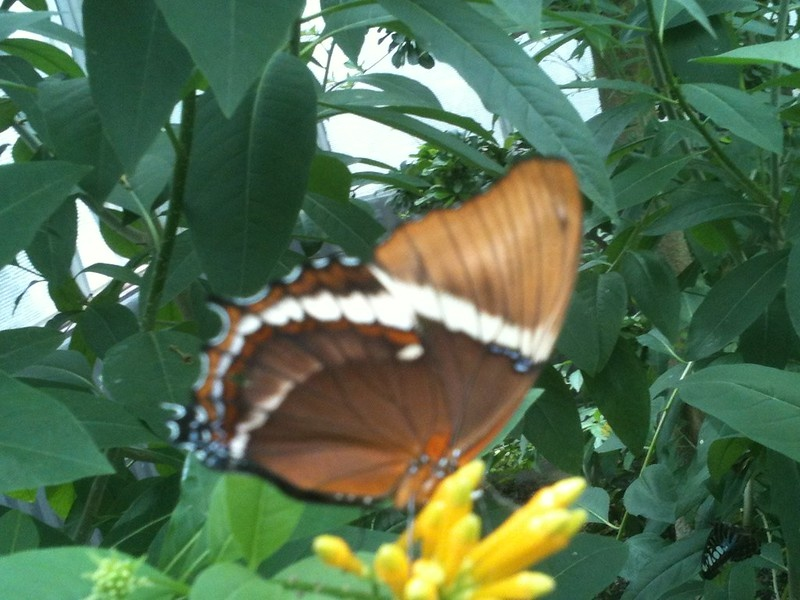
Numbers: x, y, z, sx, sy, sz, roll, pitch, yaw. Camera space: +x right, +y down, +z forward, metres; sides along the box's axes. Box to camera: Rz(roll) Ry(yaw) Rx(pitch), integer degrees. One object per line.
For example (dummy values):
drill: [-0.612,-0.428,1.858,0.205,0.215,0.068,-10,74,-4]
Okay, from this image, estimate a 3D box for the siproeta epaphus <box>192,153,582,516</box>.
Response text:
siproeta epaphus: [-0.034,0.103,1.020,0.434,0.370,0.490,-13,-21,9]
